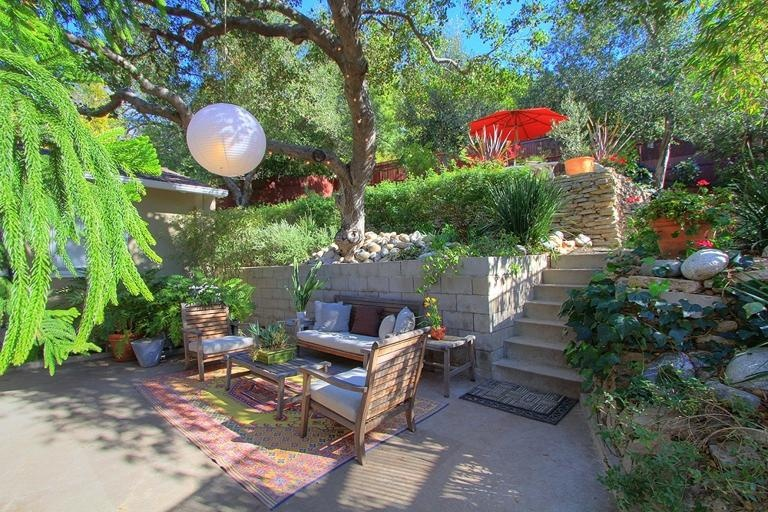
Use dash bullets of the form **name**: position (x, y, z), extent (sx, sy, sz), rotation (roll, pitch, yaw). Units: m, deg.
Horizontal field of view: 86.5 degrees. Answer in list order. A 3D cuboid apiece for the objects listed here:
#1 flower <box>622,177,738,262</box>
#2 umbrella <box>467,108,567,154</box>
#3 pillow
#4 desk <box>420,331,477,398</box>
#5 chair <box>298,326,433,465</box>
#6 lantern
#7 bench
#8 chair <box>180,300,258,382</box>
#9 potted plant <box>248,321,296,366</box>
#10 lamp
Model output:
- **flower**: position (3.231, -0.354, 4.444), extent (0.926, 0.736, 0.986), rotation (7, 13, 39)
- **umbrella**: position (2.871, -2.777, 8.964), extent (1.690, 0.666, 1.436), rotation (-2, 9, -7)
- **pillow**: position (-0.173, 0.821, 6.160), extent (1.484, 0.489, 0.515), rotation (10, 5, -5)
- **desk**: position (0.713, 1.352, 5.126), extent (0.655, 0.554, 0.659), rotation (-6, -5, 44)
- **chair**: position (-0.140, 1.200, 4.067), extent (1.047, 1.265, 1.110), rotation (0, 1, 41)
- **lantern**: position (-1.747, -1.297, 4.505), extent (0.800, 0.775, 0.379), rotation (-5, 12, -22)
- **bench**: position (-0.459, 1.455, 5.754), extent (2.070, 1.000, 0.901), rotation (-5, -11, 40)
- **chair**: position (-2.584, 1.144, 5.965), extent (1.039, 1.198, 1.495), rotation (5, 5, -36)
- **potted plant**: position (-1.331, 1.054, 4.922), extent (0.430, 0.472, 0.488), rotation (1, 3, -35)
- **lamp**: position (-1.828, -1.333, 4.741), extent (0.851, 0.918, 0.842), rotation (-4, -4, 24)
